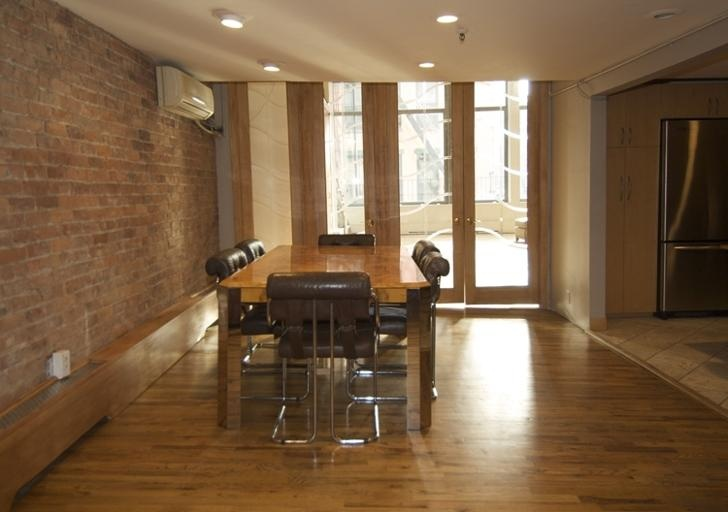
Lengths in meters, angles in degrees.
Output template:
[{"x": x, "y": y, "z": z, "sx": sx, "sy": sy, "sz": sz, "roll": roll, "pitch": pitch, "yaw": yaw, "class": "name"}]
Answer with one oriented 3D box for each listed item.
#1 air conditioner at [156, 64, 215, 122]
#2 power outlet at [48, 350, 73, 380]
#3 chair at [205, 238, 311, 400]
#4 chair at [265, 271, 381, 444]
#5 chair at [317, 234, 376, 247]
[{"x": -1.859, "y": -1.673, "z": 5.873, "sx": 0.275, "sy": 0.391, "sz": 0.872, "roll": 3, "pitch": 4, "yaw": 5, "class": "air conditioner"}, {"x": -2.176, "y": 0.784, "z": 3.996, "sx": 0.085, "sy": 0.213, "sz": 0.148, "roll": 2, "pitch": 14, "yaw": 13, "class": "power outlet"}, {"x": -0.859, "y": 0.568, "z": 4.576, "sx": 0.762, "sy": 0.848, "sz": 1.329, "roll": 0, "pitch": 6, "yaw": -5, "class": "chair"}, {"x": -0.294, "y": 0.653, "z": 4.219, "sx": 0.805, "sy": 1.253, "sz": 0.834, "roll": -1, "pitch": 14, "yaw": 0, "class": "chair"}, {"x": -0.194, "y": -0.169, "z": 6.030, "sx": 0.493, "sy": 0.143, "sz": 0.195, "roll": 1, "pitch": -5, "yaw": 4, "class": "chair"}]
